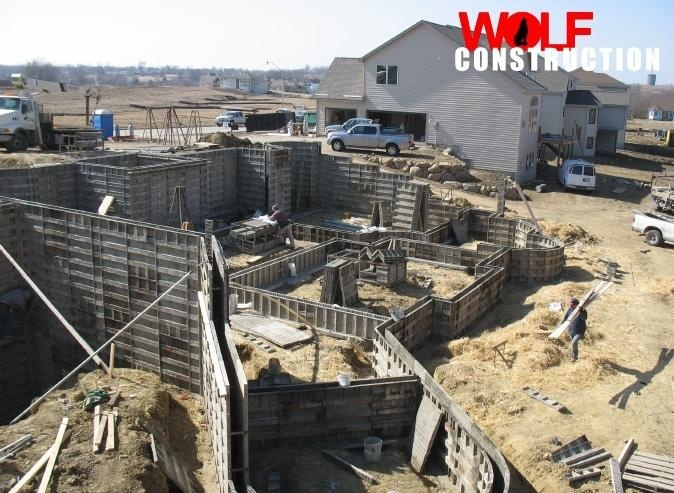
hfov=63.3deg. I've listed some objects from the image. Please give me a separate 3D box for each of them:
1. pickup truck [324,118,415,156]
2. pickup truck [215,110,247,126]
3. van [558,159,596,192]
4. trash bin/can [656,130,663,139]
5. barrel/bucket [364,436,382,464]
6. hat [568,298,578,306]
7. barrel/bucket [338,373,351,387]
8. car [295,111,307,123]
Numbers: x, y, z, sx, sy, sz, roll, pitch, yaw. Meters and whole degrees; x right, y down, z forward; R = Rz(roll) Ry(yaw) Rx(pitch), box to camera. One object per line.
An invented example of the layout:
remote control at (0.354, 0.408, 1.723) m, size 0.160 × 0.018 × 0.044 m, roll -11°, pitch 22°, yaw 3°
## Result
pickup truck at (2.454, -8.448, 41.648) m, size 6.440 × 2.224 × 2.711 m, roll 4°, pitch 23°, yaw 7°
pickup truck at (-11.527, -14.211, 61.170) m, size 2.378 × 1.997 × 4.257 m, roll 7°, pitch 15°, yaw 24°
van at (17.659, -5.438, 40.409) m, size 1.851 × 1.503 × 3.148 m, roll 2°, pitch 26°, yaw 9°
trash bin/can at (47.515, -16.462, 80.312) m, size 0.693 × 1.359 × 3.497 m, roll 8°, pitch 18°, yaw 24°
barrel/bucket at (0.780, 4.365, 11.736) m, size 0.427 × 0.392 × 0.449 m, roll 0°, pitch 3°, yaw 0°
hat at (6.706, 1.505, 15.435) m, size 0.210 × 0.277 × 0.134 m, roll -3°, pitch -27°, yaw 14°
barrel/bucket at (0.173, 2.931, 12.072) m, size 0.273 × 0.175 × 0.254 m, roll -2°, pitch 16°, yaw 1°
car at (-4.461, -15.661, 65.670) m, size 1.022 × 1.299 × 5.685 m, roll -2°, pitch 17°, yaw -5°
